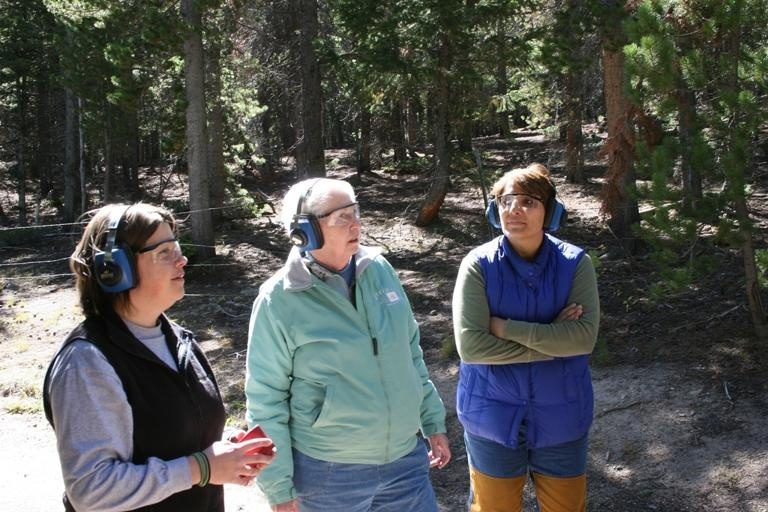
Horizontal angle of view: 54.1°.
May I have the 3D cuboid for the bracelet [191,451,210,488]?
[{"bbox_3d":[-1.674,1.939,6.896,0.147,0.369,0.337,-6,20,-16],"label":"bracelet"}]
